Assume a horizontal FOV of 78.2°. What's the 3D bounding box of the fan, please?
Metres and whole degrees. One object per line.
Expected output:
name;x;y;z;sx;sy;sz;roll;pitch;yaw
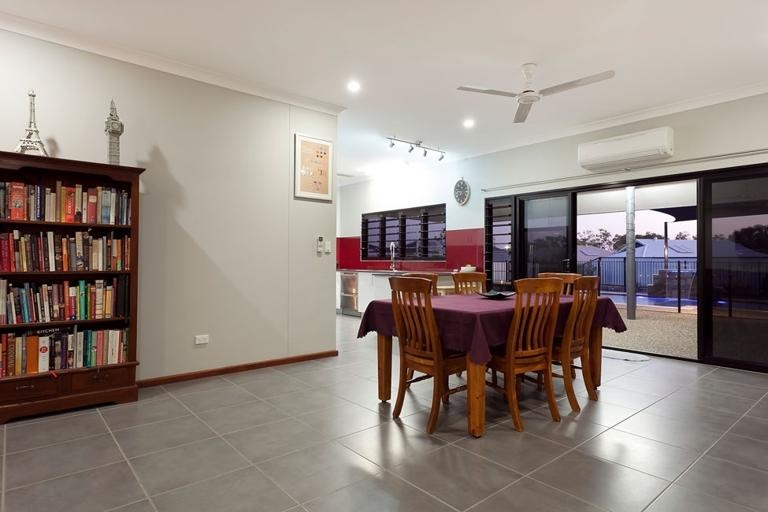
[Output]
fan;1.730;-1.872;5.419;1.150;0.578;1.578;-1;2;3

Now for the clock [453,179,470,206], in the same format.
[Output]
clock;1.429;-1.152;8.608;0.085;0.478;0.377;-4;4;-35
